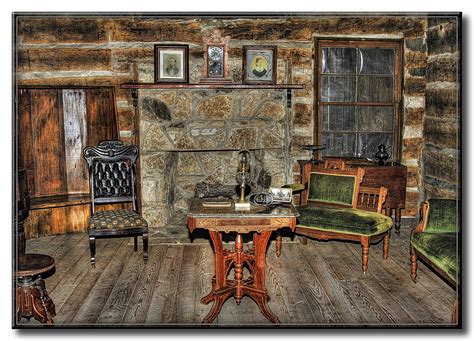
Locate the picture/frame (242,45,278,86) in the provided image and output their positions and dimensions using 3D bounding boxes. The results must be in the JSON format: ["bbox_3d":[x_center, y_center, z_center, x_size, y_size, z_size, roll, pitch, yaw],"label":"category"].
[{"bbox_3d":[0.325,-1.568,5.499,0.598,0.650,0.071,0,4,-5],"label":"picture/frame"}]

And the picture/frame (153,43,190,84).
[{"bbox_3d":[-0.984,-1.566,5.403,0.579,0.632,0.047,-1,4,-7],"label":"picture/frame"}]

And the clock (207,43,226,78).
[{"bbox_3d":[-0.321,-1.599,5.428,0.297,0.566,0.051,0,-7,-1],"label":"clock"}]

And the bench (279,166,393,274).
[{"bbox_3d":[1.153,0.517,4.538,1.359,1.191,0.749,3,6,31],"label":"bench"}]

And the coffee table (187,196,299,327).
[{"bbox_3d":[0.029,0.791,3.746,1.092,1.144,1.008,0,7,2],"label":"coffee table"}]

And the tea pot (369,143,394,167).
[{"bbox_3d":[2.133,-0.255,5.391,0.316,0.309,0.215,1,7,15],"label":"tea pot"}]

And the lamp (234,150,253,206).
[{"bbox_3d":[0.062,0.071,3.622,0.202,0.601,0.199,5,-4,-29],"label":"lamp"}]

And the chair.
[{"bbox_3d":[-1.536,0.381,4.596,0.675,1.435,1.043,-4,12,-20],"label":"chair"}]
